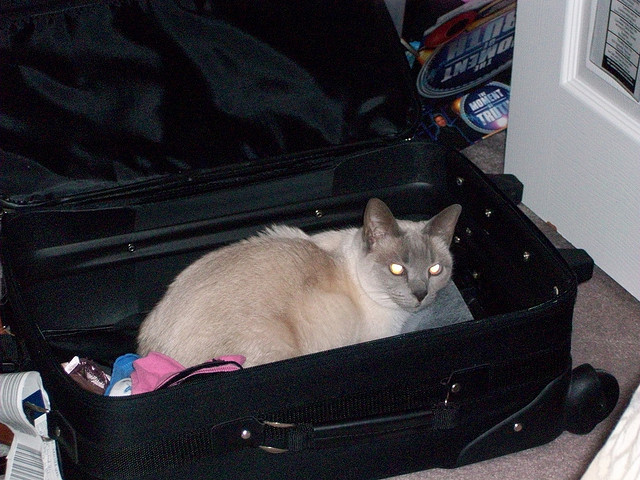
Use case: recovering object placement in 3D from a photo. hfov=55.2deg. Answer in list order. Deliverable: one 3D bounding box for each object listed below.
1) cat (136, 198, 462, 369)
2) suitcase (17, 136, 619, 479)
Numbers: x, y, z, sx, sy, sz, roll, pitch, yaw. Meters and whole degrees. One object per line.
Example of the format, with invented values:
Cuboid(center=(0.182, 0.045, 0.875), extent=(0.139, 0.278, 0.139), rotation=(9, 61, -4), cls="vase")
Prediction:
Cuboid(center=(-0.028, 0.165, 1.526), extent=(0.691, 0.334, 0.369), rotation=(-19, 34, -18), cls="cat")
Cuboid(center=(-0.006, 0.216, 1.347), extent=(1.181, 0.375, 0.791), rotation=(-3, 40, -16), cls="suitcase")
